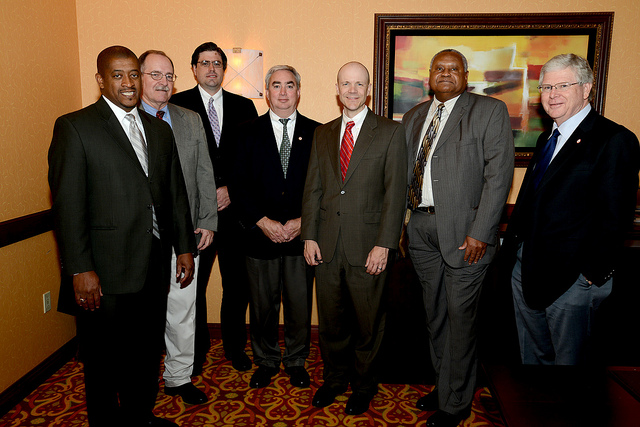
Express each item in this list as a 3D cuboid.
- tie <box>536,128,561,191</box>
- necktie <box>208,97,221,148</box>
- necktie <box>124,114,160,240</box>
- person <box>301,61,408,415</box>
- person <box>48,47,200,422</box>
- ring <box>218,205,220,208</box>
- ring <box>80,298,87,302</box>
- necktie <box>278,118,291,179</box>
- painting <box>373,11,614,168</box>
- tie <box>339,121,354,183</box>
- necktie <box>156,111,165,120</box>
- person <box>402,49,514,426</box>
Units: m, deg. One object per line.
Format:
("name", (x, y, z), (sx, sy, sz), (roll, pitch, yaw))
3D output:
("tie", (1.541, -0.407, 3.206), (0.083, 0.615, 0.049), (17, -24, 21))
("necktie", (-0.842, -0.730, 3.832), (0.077, 0.363, 0.153), (-14, 23, -38))
("necktie", (-1.121, -0.288, 3.063), (0.117, 0.909, 0.094), (-11, -4, -20))
("person", (0.217, 0.196, 3.427), (0.753, 2.395, 0.703), (3, 18, 9))
("person", (-1.240, 0.225, 3.063), (0.862, 2.421, 0.545), (-12, 22, -33))
("ring", (-0.806, -0.054, 3.808), (0.021, 0.021, 0.010), (-14, -2, -23))
("ring", (-1.419, 0.515, 2.859), (0.032, 0.009, 0.024), (0, 0, 11))
("necktie", (-0.271, -0.476, 3.640), (0.104, 0.466, 0.032), (1, -3, -2))
("painting", (1.429, -1.003, 4.027), (1.954, 1.489, 0.086), (2, -9, 5))
("tie", (0.183, -0.439, 3.383), (0.073, 0.451, 0.033), (0, -17, 19))
("necktie", (-1.143, -0.704, 3.435), (0.069, 0.071, 0.016), (11, -4, -39))
("person", (0.958, 0.181, 3.371), (0.659, 2.496, 0.908), (-1, 18, -5))
